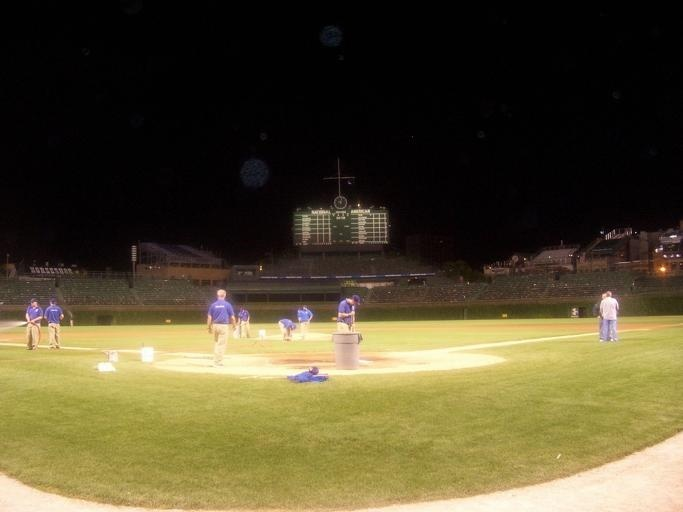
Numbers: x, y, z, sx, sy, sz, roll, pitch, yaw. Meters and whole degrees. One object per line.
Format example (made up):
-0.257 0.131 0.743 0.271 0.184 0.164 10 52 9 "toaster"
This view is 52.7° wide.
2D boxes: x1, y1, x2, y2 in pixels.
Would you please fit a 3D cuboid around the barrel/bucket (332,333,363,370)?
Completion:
0.107 2.453 17.808 0.929 0.859 0.820 -1 -9 0 "barrel/bucket"

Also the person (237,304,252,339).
-5.033 3.472 35.479 0.611 1.339 1.291 -2 -1 -9 "person"

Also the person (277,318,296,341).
-2.476 3.418 31.860 0.780 0.571 1.918 0 -9 -4 "person"

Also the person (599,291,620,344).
9.512 2.120 24.608 0.614 1.430 1.995 -2 -1 20 "person"

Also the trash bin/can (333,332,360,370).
-0.073 2.414 17.735 0.838 0.854 0.902 0 -3 -20 "trash bin/can"
